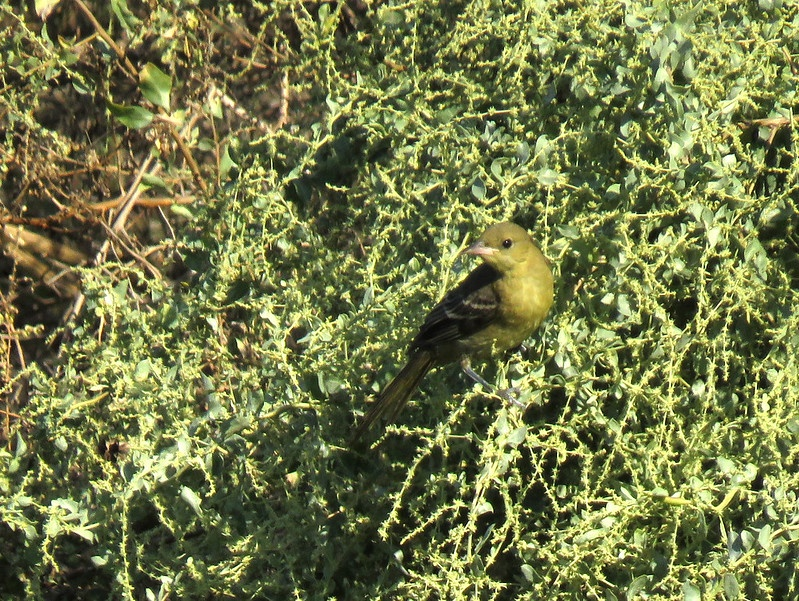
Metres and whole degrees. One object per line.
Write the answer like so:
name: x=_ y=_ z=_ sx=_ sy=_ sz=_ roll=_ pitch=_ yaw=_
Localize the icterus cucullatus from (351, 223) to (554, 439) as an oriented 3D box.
icterus cucullatus: x=0.356 y=0.155 z=6.104 sx=0.484 sy=0.850 sz=0.839 roll=36 pitch=49 yaw=19
